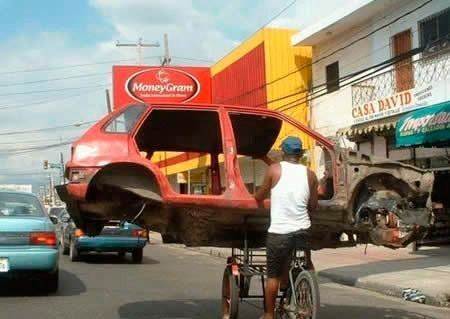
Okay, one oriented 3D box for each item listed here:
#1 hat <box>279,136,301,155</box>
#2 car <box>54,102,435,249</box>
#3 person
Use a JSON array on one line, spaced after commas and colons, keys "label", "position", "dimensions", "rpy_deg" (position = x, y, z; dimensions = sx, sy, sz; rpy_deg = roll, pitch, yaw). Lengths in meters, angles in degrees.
[{"label": "hat", "position": [0.979, -0.225, 8.399], "dimensions": [0.228, 0.152, 0.303], "rpy_deg": [1, 10, -1]}, {"label": "car", "position": [0.238, 0.379, 9.379], "dimensions": [5.012, 1.700, 3.102], "rpy_deg": [1, -9, -8]}, {"label": "person", "position": [0.873, 0.960, 8.186], "dimensions": [0.873, 2.649, 0.308], "rpy_deg": [1, -4, 6]}]
